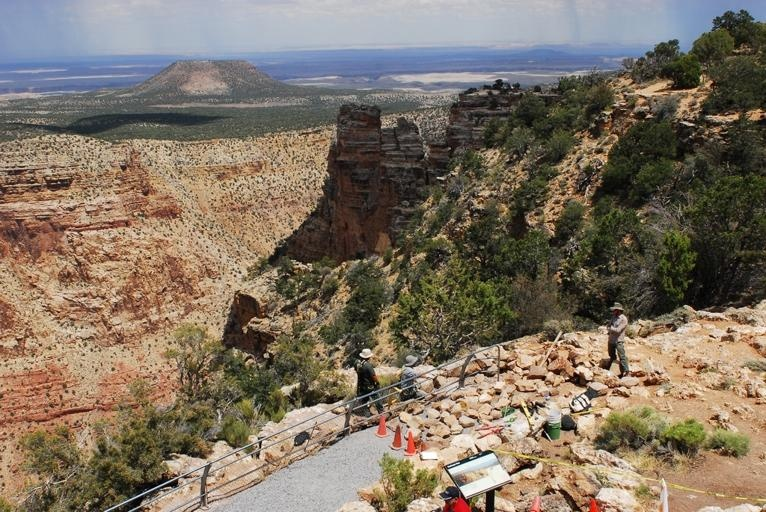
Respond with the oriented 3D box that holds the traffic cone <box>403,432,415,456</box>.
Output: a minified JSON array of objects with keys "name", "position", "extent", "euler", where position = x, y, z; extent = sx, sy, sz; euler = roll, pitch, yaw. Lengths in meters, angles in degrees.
[{"name":"traffic cone","position":[0.910,6.184,18.908],"extent":[0.354,0.631,0.655],"euler":[-1,23,3]}]

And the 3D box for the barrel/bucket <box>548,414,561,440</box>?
[{"name":"barrel/bucket","position":[5.546,5.514,18.435],"extent":[0.522,0.781,0.635],"euler":[1,17,20]}]

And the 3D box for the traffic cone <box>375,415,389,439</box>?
[{"name":"traffic cone","position":[-0.075,5.931,20.096],"extent":[0.424,0.593,0.826],"euler":[-2,23,0]}]

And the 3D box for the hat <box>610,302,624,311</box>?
[{"name":"hat","position":[9.384,2.028,22.709],"extent":[0.610,0.254,0.606],"euler":[9,-15,-43]}]

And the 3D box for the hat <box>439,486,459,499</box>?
[{"name":"hat","position":[1.948,6.931,16.615],"extent":[0.445,0.201,0.318],"euler":[-5,4,21]}]
